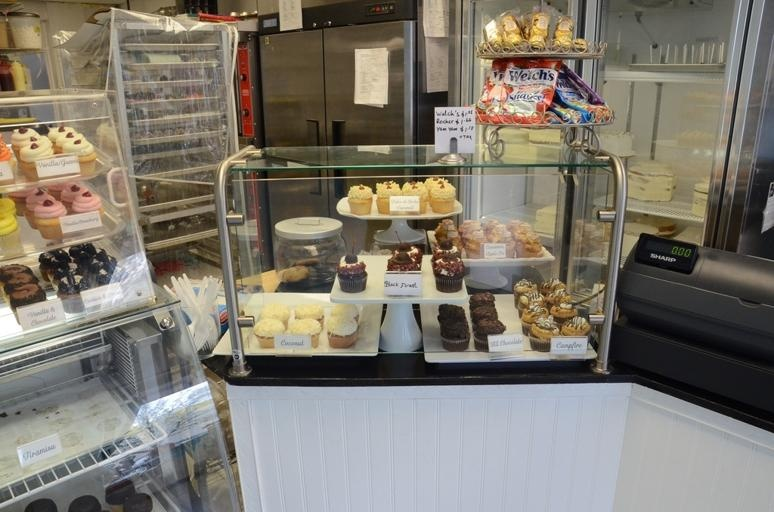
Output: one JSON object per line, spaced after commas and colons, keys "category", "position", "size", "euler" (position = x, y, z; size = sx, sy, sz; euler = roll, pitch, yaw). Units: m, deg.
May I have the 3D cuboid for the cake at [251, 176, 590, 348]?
{"category": "cake", "position": [0.263, 0.061, 2.244], "size": [1.383, 0.607, 0.681], "euler": [0, 36, -1]}

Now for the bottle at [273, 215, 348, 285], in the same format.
{"category": "bottle", "position": [-0.302, -0.037, 2.213], "size": [0.288, 0.228, 0.278], "euler": [-1, 13, 0]}
